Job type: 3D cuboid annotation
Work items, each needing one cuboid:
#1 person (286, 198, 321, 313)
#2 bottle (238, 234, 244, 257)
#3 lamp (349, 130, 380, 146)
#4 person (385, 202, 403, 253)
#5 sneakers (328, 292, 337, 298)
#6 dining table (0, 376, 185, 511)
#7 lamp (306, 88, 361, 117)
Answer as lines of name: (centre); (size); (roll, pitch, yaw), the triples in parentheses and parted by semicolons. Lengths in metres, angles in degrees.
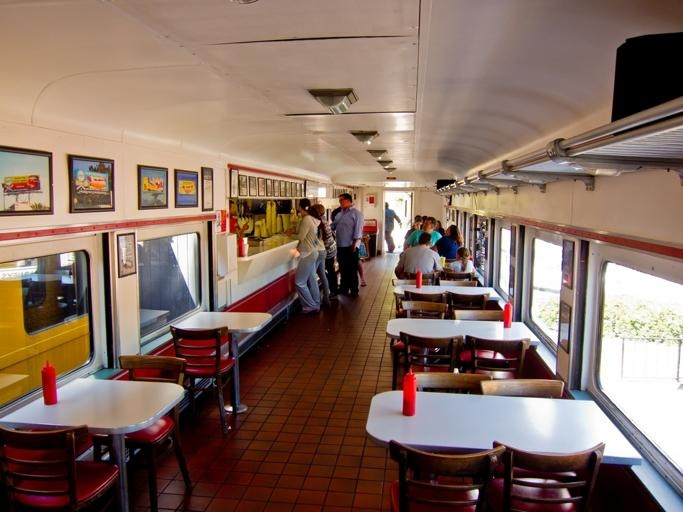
person: (-0.722, 0.060, 10.386); (0.521, 2.456, 0.640); (-1, 9, -4)
bottle: (-1.621, -0.137, 7.970); (0.117, 0.269, 0.157); (-3, 10, -14)
lamp: (0.366, -1.848, 7.648); (0.428, 0.127, 1.114); (0, 11, 4)
person: (2.461, -1.259, 23.379); (0.836, 2.956, 1.524); (-3, 35, 9)
sneakers: (-0.229, 0.953, 12.085); (0.190, 0.098, 0.259); (1, 6, 7)
dining table: (-1.970, 1.257, 4.114); (1.211, 0.976, 1.079); (3, 6, 16)
lamp: (-0.073, -1.587, 5.026); (0.505, 0.148, 0.619); (0, 11, 1)
